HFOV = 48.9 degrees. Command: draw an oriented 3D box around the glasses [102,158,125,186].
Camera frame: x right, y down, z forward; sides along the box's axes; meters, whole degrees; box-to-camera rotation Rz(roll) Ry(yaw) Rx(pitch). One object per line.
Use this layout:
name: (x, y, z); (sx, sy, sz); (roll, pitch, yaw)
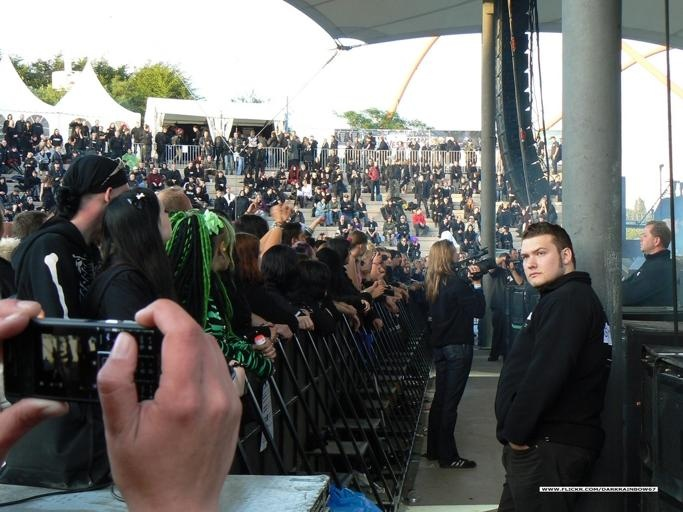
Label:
glasses: (-0.910, -0.319, 2.921); (0.029, 0.104, 0.102); (27, 13, -7)
